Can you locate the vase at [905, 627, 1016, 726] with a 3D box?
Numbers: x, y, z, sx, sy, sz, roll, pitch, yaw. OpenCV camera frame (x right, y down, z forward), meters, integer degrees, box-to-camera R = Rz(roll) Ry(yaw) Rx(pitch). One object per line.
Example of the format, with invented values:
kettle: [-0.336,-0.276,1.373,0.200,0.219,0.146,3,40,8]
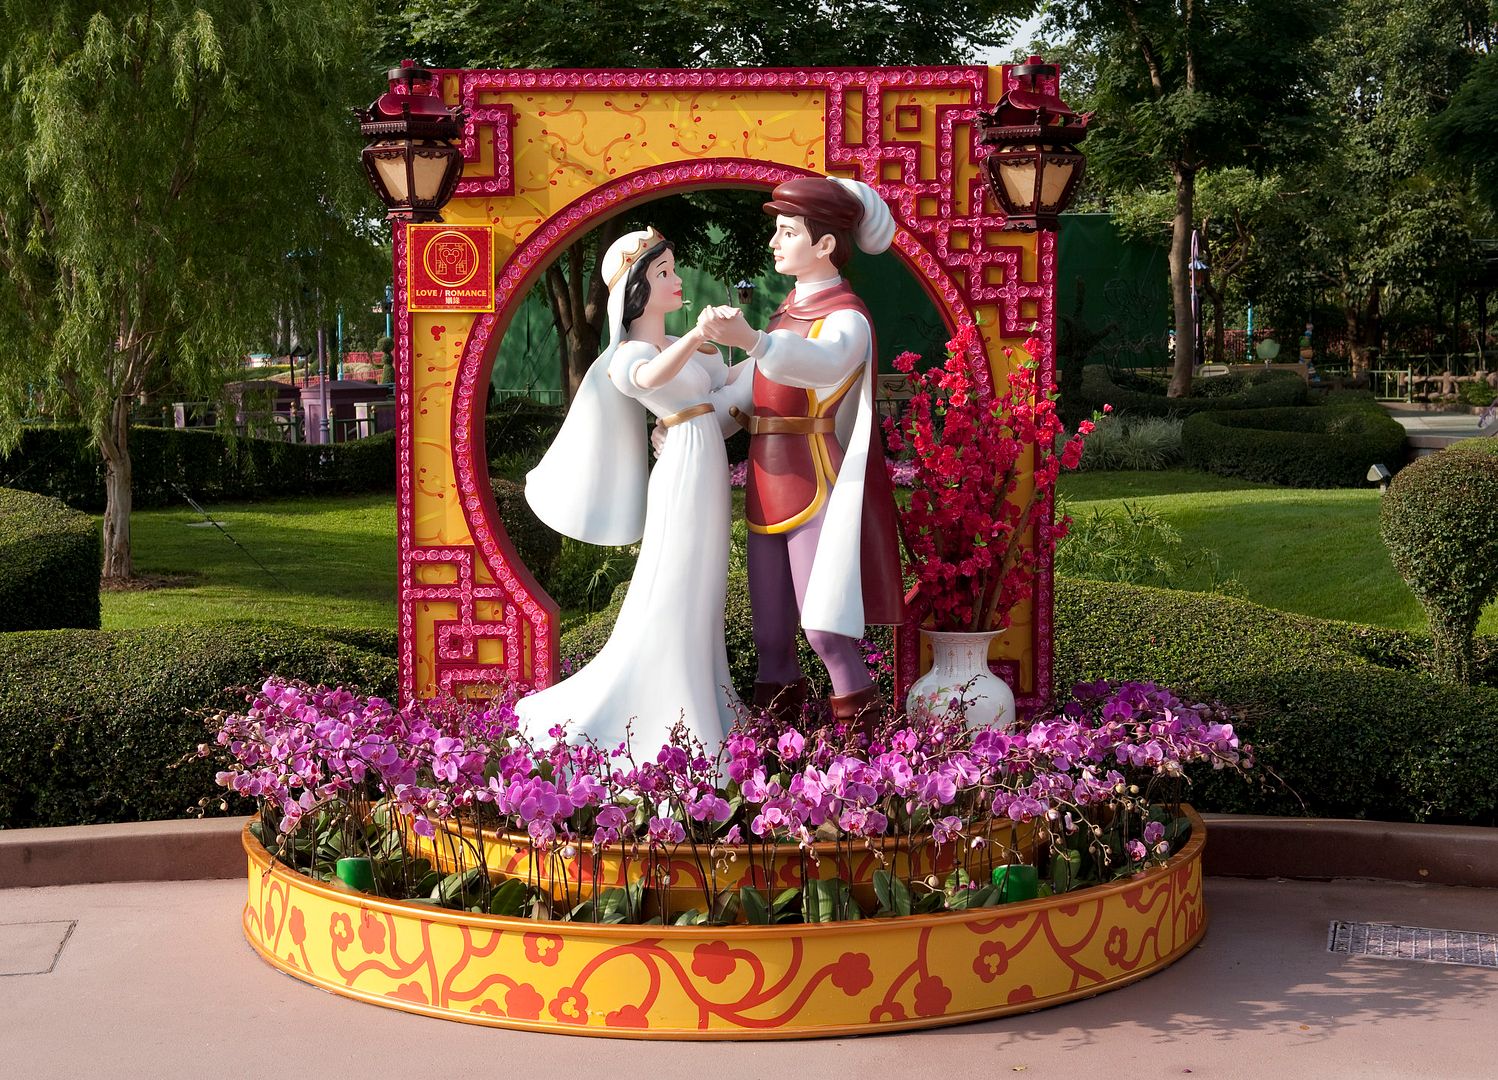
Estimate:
vase: [0.943,0.622,7.969,0.383,0.411,0.422,0,-3,23]

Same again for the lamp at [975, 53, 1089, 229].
lamp: [1.294,-1.802,8.194,0.476,0.767,0.316,1,6,11]

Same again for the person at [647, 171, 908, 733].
person: [0.285,-0.384,7.701,0.757,2.290,0.543,0,5,-3]
